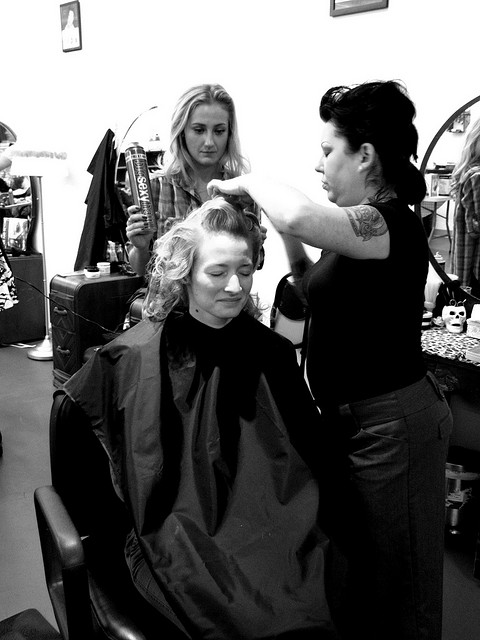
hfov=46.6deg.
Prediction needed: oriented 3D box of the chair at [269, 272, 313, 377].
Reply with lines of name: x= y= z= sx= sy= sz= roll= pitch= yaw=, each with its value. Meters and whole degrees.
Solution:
chair: x=0.140 y=-0.039 z=1.499 sx=0.131 sy=0.257 sz=0.255 roll=5 pitch=31 yaw=4

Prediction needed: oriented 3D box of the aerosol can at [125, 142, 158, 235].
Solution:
aerosol can: x=-0.272 y=-0.366 z=1.537 sx=0.084 sy=0.252 sz=0.079 roll=2 pitch=4 yaw=0

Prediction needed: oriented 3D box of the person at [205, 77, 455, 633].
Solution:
person: x=0.185 y=0.088 z=0.996 sx=0.382 sy=0.970 sz=0.267 roll=0 pitch=5 yaw=-28
